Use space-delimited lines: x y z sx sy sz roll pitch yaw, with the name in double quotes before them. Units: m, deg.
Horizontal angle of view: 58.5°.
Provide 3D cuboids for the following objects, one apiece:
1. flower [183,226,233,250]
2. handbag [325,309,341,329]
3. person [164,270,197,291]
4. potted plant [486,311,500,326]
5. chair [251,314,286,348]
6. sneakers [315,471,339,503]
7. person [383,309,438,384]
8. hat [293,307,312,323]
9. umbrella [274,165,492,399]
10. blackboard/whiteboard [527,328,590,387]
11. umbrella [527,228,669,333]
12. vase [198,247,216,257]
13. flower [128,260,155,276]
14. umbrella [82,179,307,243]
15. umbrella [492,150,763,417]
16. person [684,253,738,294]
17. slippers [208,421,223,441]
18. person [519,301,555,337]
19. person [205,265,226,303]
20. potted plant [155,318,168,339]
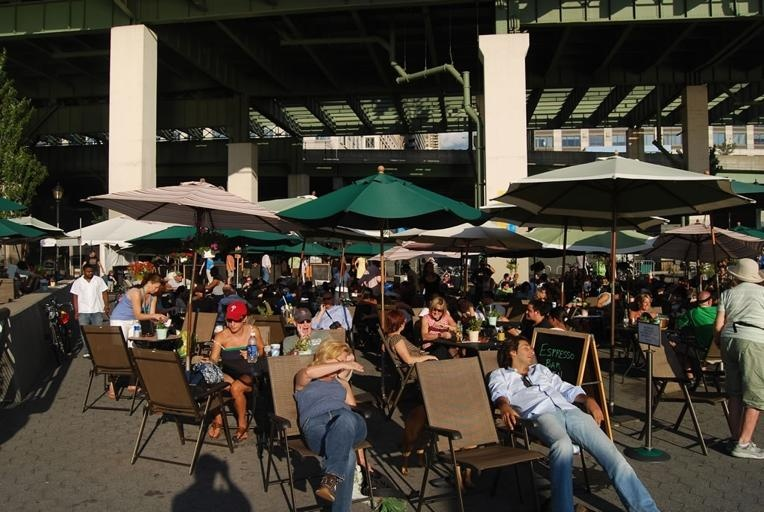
"flower" -3.893 -0.414 15.520 0.824 0.504 0.828 6 -6 -21
"handbag" -1.084 1.366 14.783 0.095 0.192 0.495 35 -16 44
"person" -6.111 0.725 20.665 0.959 0.307 0.765 2 2 44
"potted plant" 2.392 1.358 14.849 0.233 0.327 0.320 1 -7 1
"chair" -2.506 1.586 14.502 0.642 0.926 0.718 0 -6 -5
"sneakers" -0.778 3.335 9.774 0.216 0.263 0.612 17 -34 12
"person" 0.445 1.688 12.836 0.764 1.323 0.745 0 3 -1
"hat" -1.591 1.067 12.603 0.364 0.282 0.599 -2 -4 -14
"umbrella" 0.146 0.050 14.401 3.546 2.937 3.474 0 4 3
"blackboard/whiteboard" 2.863 1.673 11.042 0.785 0.820 0.283 -1 -20 46
"umbrella" 6.097 0.619 19.404 3.036 1.955 3.088 2 1 -13
"vase" -3.926 -0.104 15.262 0.236 0.199 0.359 2 -4 11
"flower" -5.262 0.234 15.028 0.456 0.331 0.477 0 -2 12
"umbrella" -3.957 -1.017 14.417 3.851 1.098 3.261 -2 4 -23
"umbrella" 4.706 0.219 13.470 4.263 4.286 4.536 -1 2 -4
"person" 9.606 0.483 19.905 1.056 0.946 1.072 7 12 32
"slippers" -2.916 3.019 11.971 0.192 0.548 0.131 -1 -13 19
"person" 3.129 1.228 13.648 0.598 0.736 1.105 3 6 8
"person" -5.119 0.966 20.847 0.757 1.369 0.610 -3 17 -8
"potted plant" -4.358 1.444 13.543 0.265 0.350 0.354 1 -18 -5
